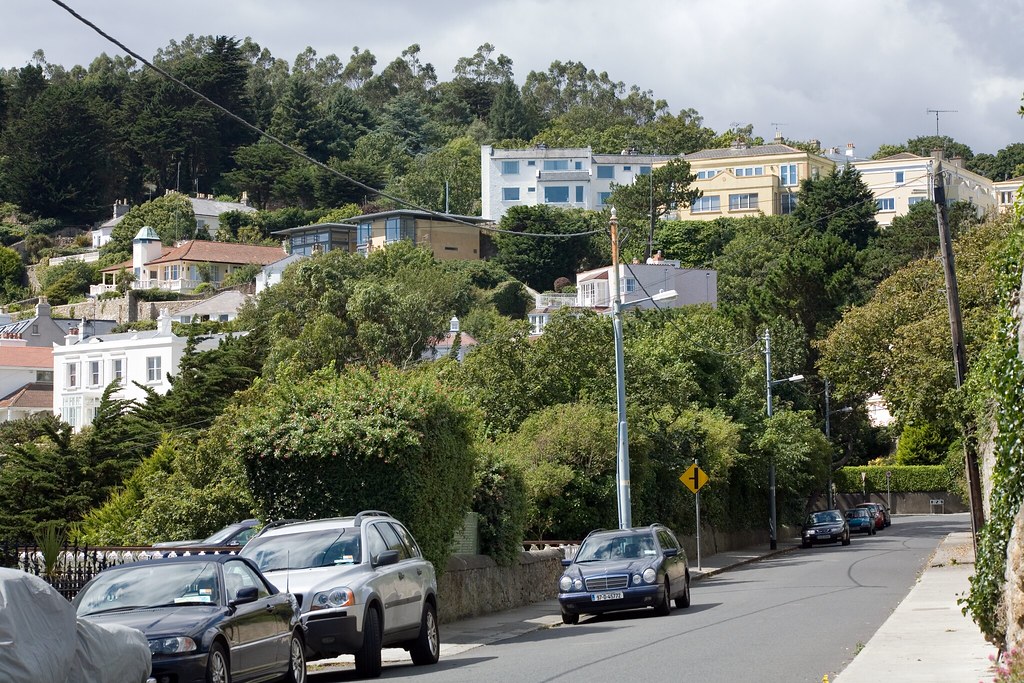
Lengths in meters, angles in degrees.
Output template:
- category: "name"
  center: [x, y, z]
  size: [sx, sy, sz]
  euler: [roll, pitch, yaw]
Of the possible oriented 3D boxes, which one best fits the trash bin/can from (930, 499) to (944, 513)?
- category: "trash bin/can"
  center: [33.860, 12.982, 144.038]
  size: [1.198, 1.332, 0.961]
  euler: [-2, -9, 12]
